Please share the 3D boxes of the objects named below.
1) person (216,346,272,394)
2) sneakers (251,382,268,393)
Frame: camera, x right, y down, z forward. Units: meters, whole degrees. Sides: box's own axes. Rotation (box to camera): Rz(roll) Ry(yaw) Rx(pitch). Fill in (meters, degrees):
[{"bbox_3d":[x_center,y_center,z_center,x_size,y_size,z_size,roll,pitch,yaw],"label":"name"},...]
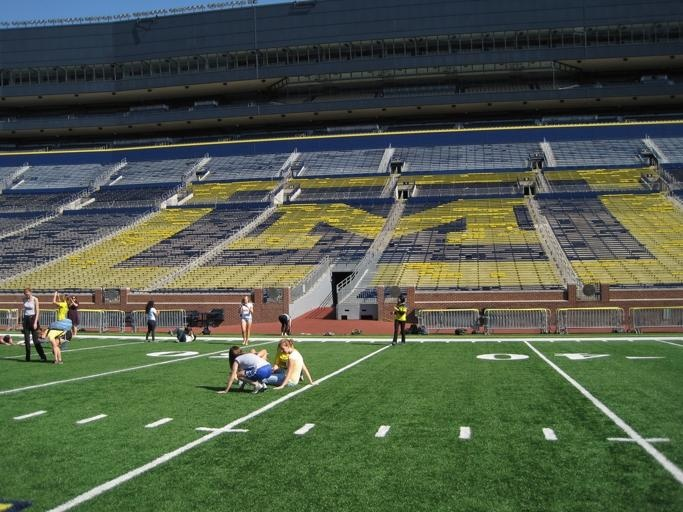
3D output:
[{"bbox_3d":[-1.960,2.313,13.572,1.107,0.712,1.295,-7,1,-45],"label":"person"},{"bbox_3d":[-1.758,2.715,13.295,0.162,0.373,0.139,51,26,19],"label":"sneakers"}]
